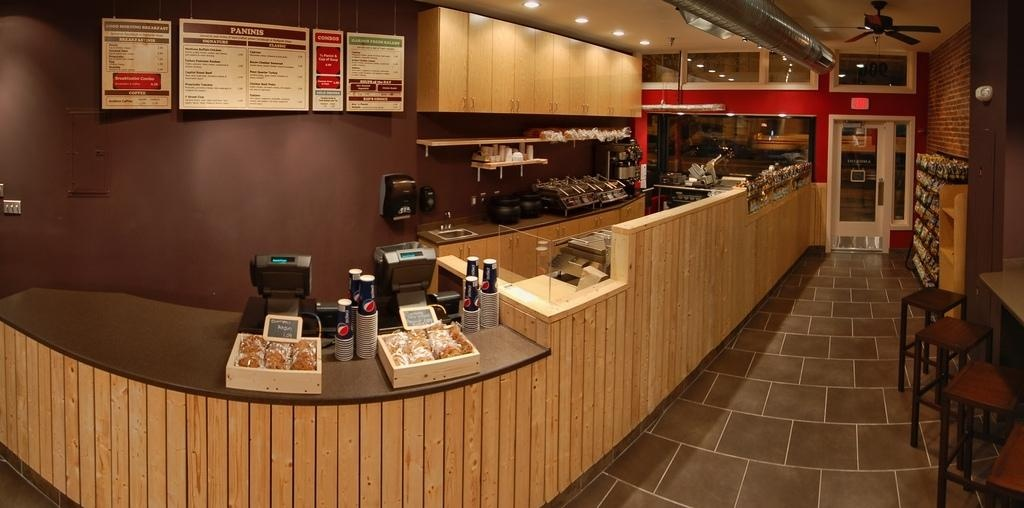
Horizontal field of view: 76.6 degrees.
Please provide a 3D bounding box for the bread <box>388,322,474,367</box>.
[{"bbox_3d":[-0.862,0.915,6.472,0.576,0.113,0.484,-6,14,-27],"label":"bread"}]

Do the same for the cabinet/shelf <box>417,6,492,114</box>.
[{"bbox_3d":[-0.991,-2.766,9.269,0.831,1.417,0.428,-2,13,-3],"label":"cabinet/shelf"}]

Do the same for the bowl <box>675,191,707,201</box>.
[{"bbox_3d":[3.406,-1.101,12.350,0.632,0.193,0.181,6,14,31],"label":"bowl"}]
